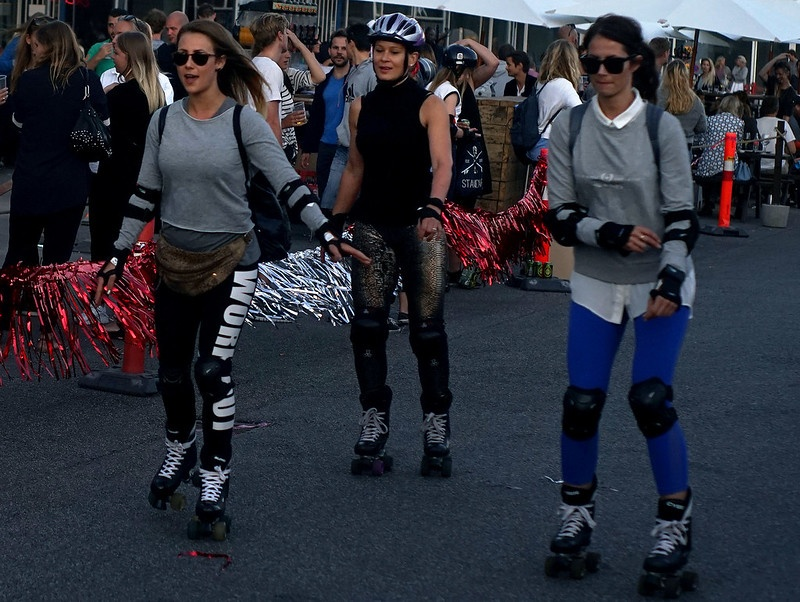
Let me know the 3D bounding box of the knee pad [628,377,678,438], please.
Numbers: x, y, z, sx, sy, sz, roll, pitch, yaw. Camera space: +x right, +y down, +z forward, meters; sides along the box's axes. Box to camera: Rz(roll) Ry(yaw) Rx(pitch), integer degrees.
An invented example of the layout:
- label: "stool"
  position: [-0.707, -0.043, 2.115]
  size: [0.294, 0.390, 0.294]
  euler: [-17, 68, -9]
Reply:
- label: "knee pad"
  position: [0.945, 0.364, 2.563]
  size: [0.198, 0.184, 0.148]
  euler: [-4, 14, -30]

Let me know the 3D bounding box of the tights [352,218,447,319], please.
- label: "tights"
  position: [-0.016, -0.053, 3.663]
  size: [0.479, 0.681, 0.243]
  euler: [6, -31, -11]

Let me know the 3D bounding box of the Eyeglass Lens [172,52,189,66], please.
- label: "Eyeglass Lens"
  position: [-0.902, -0.998, 2.843]
  size: [0.060, 0.029, 0.063]
  euler: [3, -6, 9]

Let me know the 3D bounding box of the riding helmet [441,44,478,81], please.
- label: "riding helmet"
  position: [0.626, -2.453, 7.100]
  size: [0.363, 0.315, 0.295]
  euler: [-7, 24, -9]

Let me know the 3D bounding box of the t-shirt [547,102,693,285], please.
- label: "t-shirt"
  position: [0.803, -0.392, 2.528]
  size: [0.612, 0.713, 0.395]
  euler: [4, 12, 24]

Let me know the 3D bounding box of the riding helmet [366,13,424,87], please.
- label: "riding helmet"
  position: [-0.024, -1.266, 3.476]
  size: [0.279, 0.334, 0.238]
  euler: [1, 10, 0]

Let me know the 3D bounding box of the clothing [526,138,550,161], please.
- label: "clothing"
  position: [1.581, -1.720, 7.881]
  size: [0.204, 0.274, 0.389]
  euler: [0, 11, -5]

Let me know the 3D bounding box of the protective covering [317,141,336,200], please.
- label: "protective covering"
  position: [-0.886, -1.505, 7.975]
  size: [0.187, 0.674, 0.149]
  euler: [6, 27, -18]

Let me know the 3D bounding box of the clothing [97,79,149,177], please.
- label: "clothing"
  position: [-2.255, -1.502, 5.671]
  size: [0.304, 0.665, 0.258]
  euler: [-39, 51, -23]

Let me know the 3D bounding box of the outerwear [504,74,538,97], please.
- label: "outerwear"
  position: [2.161, -3.938, 12.555]
  size: [0.541, 0.526, 1.537]
  euler: [2, 11, 8]

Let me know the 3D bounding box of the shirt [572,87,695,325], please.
- label: "shirt"
  position: [0.900, -0.380, 2.684]
  size: [0.496, 0.821, 0.555]
  euler: [-23, 25, -38]

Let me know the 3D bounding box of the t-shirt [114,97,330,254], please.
- label: "t-shirt"
  position: [-0.754, -0.516, 2.970]
  size: [1.038, 0.748, 0.346]
  euler: [5, 8, 12]

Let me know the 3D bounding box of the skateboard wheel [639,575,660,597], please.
- label: "skateboard wheel"
  position: [0.899, 1.025, 2.506]
  size: [0.045, 0.084, 0.082]
  euler: [5, 4, 24]

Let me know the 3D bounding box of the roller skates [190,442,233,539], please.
- label: "roller skates"
  position: [-0.788, 0.821, 3.017]
  size: [0.116, 0.243, 0.391]
  euler: [1, 8, -4]

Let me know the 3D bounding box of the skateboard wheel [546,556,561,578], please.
- label: "skateboard wheel"
  position: [0.584, 1.021, 2.667]
  size: [0.048, 0.090, 0.084]
  euler: [0, 1, 18]
